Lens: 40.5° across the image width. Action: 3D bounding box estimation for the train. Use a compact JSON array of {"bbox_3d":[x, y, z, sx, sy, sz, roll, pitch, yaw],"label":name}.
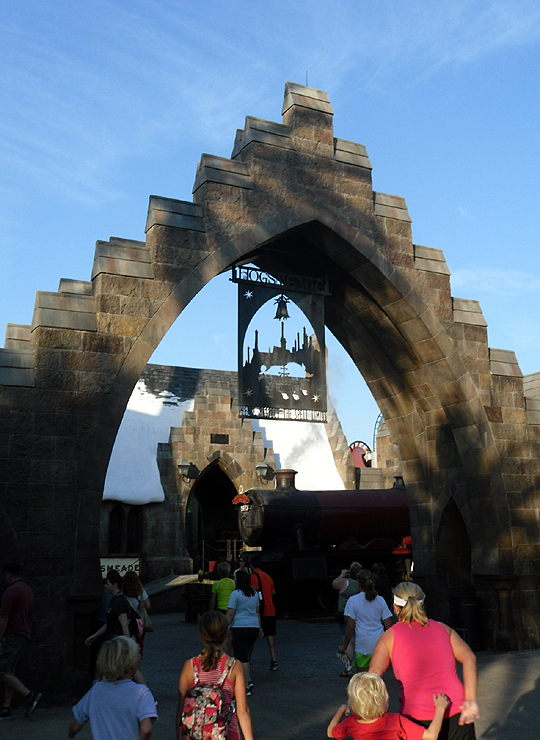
[{"bbox_3d":[1.167,3.947,16.974,5.961,3.636,2.395,5,-20,-22],"label":"train"}]
